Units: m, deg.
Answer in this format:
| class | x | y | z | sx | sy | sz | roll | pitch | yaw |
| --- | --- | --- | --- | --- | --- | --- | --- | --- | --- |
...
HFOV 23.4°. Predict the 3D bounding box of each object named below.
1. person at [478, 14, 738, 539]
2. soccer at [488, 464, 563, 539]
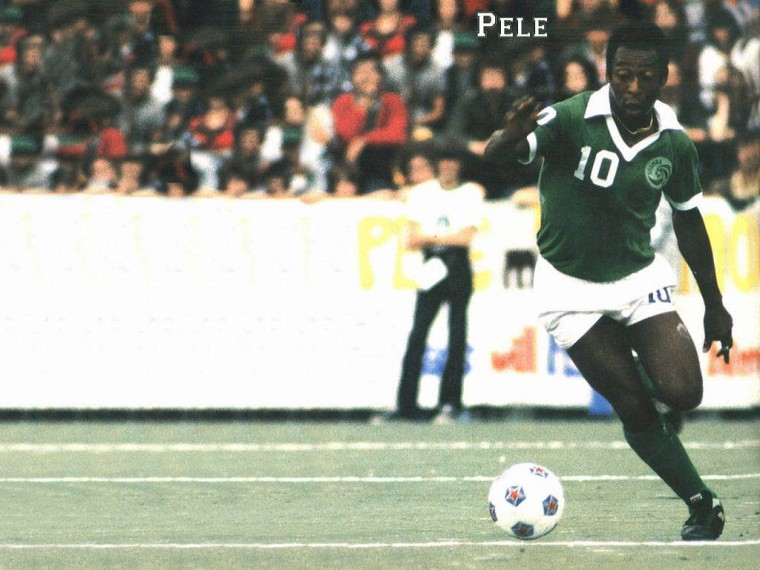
| class | x | y | z | sx | sy | sz | roll | pitch | yaw |
| --- | --- | --- | --- | --- | --- | --- | --- | --- | --- |
| person | 1.479 | -0.041 | 11.249 | 1.258 | 3.092 | 0.716 | -2 | 9 | 10 |
| soccer | 0.866 | 1.235 | 11.140 | 0.437 | 0.414 | 0.435 | -1 | 40 | 4 |
